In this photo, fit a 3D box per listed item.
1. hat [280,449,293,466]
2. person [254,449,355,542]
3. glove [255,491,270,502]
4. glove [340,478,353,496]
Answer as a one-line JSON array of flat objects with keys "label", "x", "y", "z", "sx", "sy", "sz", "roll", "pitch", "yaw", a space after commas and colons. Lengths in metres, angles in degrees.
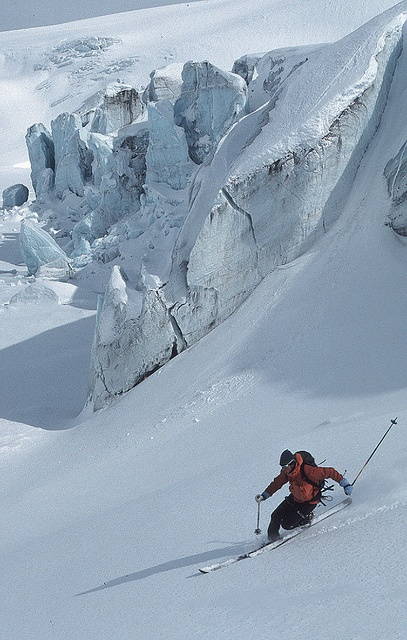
[{"label": "hat", "x": 0.704, "y": 1.203, "z": 7.115, "sx": 0.102, "sy": 0.110, "sz": 0.134, "roll": -23, "pitch": 9, "yaw": 30}, {"label": "person", "x": 0.878, "y": 1.626, "z": 7.216, "sx": 0.811, "sy": 0.948, "sz": 0.404, "roll": 1, "pitch": 8, "yaw": 12}, {"label": "glove", "x": 0.504, "y": 1.556, "z": 7.129, "sx": 0.111, "sy": 0.070, "sz": 0.052, "roll": -20, "pitch": -12, "yaw": -1}, {"label": "glove", "x": 1.211, "y": 1.449, "z": 7.024, "sx": 0.069, "sy": 0.144, "sz": 0.142, "roll": -2, "pitch": -9, "yaw": 4}]
